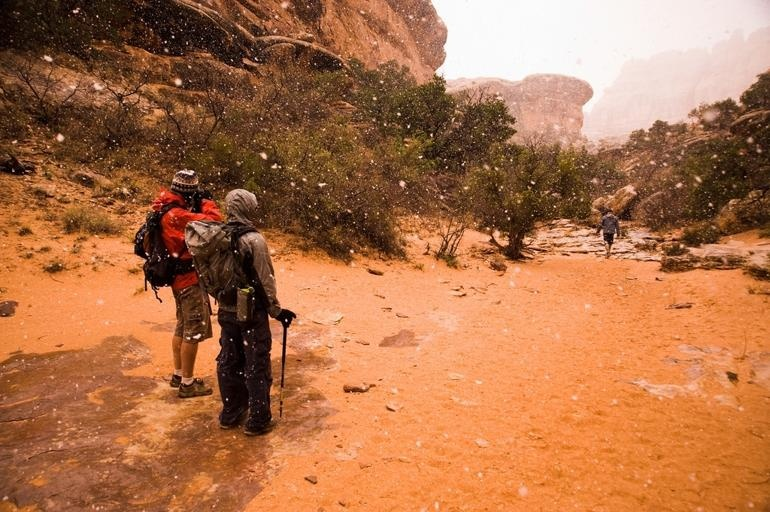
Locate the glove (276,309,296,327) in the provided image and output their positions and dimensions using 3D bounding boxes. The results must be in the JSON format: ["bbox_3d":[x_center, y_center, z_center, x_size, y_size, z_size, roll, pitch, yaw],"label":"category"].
[{"bbox_3d":[-2.226,1.317,11.586,0.452,0.428,0.215,-1,23,3],"label":"glove"}]
